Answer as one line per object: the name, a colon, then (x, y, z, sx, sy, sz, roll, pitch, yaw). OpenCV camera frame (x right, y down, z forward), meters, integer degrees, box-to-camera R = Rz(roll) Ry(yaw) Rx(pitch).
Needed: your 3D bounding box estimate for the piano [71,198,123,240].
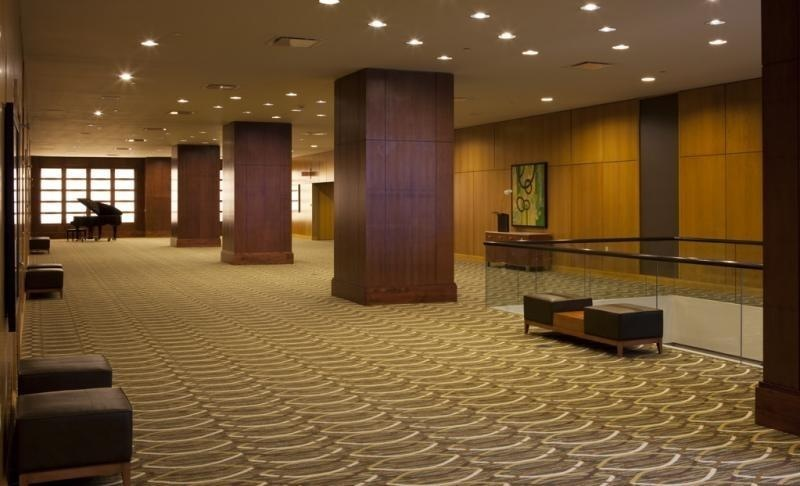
piano: (-16.243, -1.248, 29.333, 2.359, 2.024, 1.171, -1, 0, -14)

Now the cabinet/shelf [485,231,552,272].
cabinet/shelf: (3.384, 0.048, 14.852, 2.091, 0.588, 8.196, 1, 4, 9)

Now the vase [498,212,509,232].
vase: (3.508, -0.701, 18.365, 0.376, 0.605, 0.421, 0, 3, 4)

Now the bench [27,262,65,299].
bench: (-8.293, 0.859, 12.716, 0.774, 0.584, 1.403, 0, 7, -22)

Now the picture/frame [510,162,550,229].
picture/frame: (4.272, -1.558, 17.904, 0.143, 2.115, 1.424, -2, 4, -36)

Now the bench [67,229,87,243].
bench: (-18.674, -0.483, 31.439, 1.301, 0.723, 1.209, 1, -1, -8)
